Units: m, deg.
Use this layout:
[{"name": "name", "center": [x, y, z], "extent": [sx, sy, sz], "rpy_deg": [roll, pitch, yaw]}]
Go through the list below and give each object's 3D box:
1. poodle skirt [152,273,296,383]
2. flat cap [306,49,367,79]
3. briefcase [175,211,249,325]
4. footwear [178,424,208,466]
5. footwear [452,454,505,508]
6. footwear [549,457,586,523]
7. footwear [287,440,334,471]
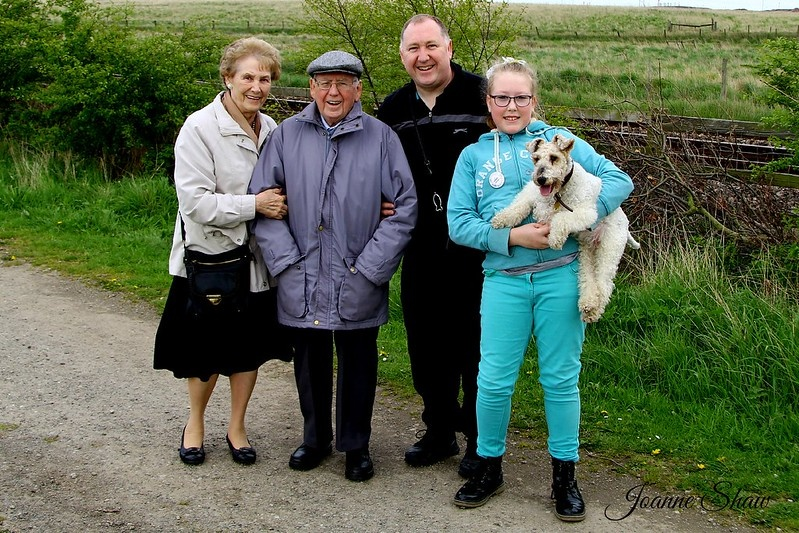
[{"name": "poodle skirt", "center": [-1.516, 0.398, 6.197], "extent": [1.301, 1.096, 0.577], "rpy_deg": [-1, -4, 4]}, {"name": "flat cap", "center": [-0.546, -1.712, 5.789], "extent": [0.439, 0.209, 0.238], "rpy_deg": [-2, 16, -9]}, {"name": "briefcase", "center": [-1.562, -0.147, 5.819], "extent": [0.575, 1.084, 0.216], "rpy_deg": [-3, 29, -24]}, {"name": "footwear", "center": [-1.864, 1.591, 6.149], "extent": [0.152, 0.103, 0.404], "rpy_deg": [-1, 23, -18]}, {"name": "footwear", "center": [0.672, 1.773, 5.794], "extent": [0.574, 0.362, 0.235], "rpy_deg": [-5, 8, -44]}, {"name": "footwear", "center": [1.362, 1.783, 5.538], "extent": [0.297, 0.454, 0.266], "rpy_deg": [6, 16, 16]}, {"name": "footwear", "center": [-0.786, 1.677, 6.151], "extent": [0.161, 0.178, 0.437], "rpy_deg": [4, 4, 36]}]
